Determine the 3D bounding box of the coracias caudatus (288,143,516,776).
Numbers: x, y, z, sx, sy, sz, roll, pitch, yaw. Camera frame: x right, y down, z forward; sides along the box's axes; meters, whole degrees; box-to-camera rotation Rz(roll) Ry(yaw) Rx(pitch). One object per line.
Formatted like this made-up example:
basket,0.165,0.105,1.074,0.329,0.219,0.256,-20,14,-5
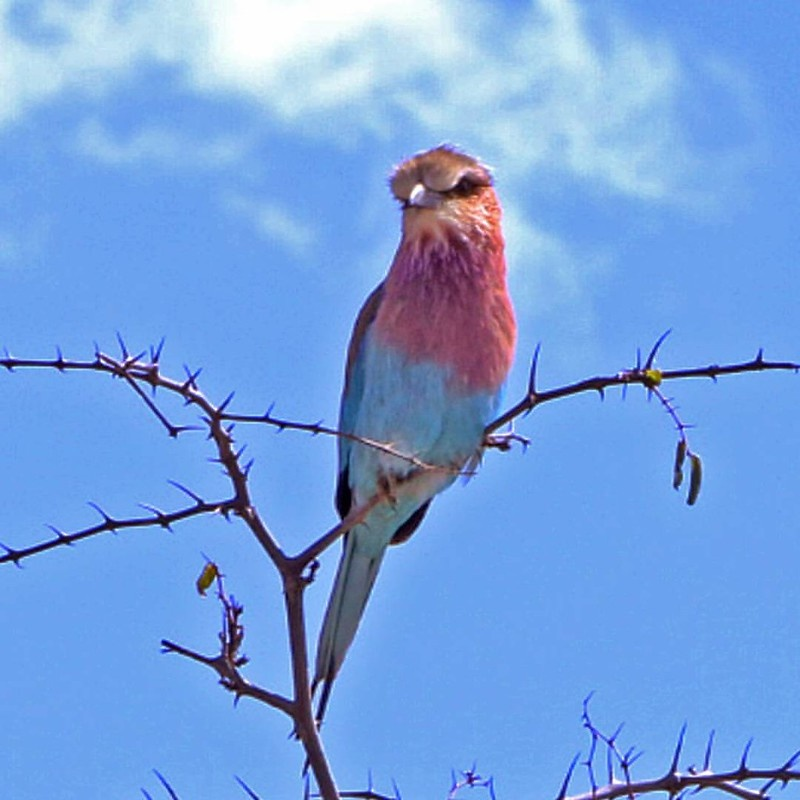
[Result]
coracias caudatus,0.051,0.081,4.998,0.347,0.663,1.753,8,-75,-13
